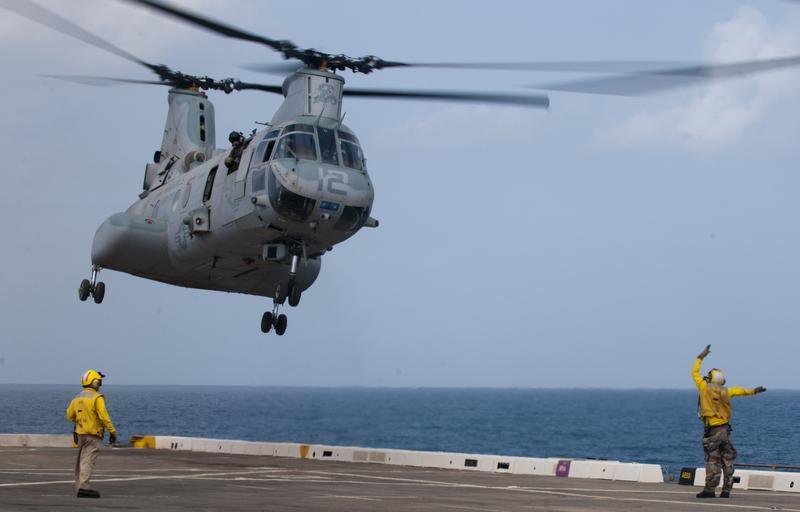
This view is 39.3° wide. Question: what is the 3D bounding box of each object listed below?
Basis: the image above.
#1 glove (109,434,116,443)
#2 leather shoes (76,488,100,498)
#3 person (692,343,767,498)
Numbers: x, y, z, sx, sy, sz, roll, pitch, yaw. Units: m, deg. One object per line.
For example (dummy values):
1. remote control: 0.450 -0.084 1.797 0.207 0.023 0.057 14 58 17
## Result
1. glove: -6.961 4.412 27.048 0.139 0.247 0.409 7 -6 -14
2. leather shoes: -7.358 5.578 26.441 0.595 0.231 0.209 1 1 6
3. person: 8.040 4.160 28.301 1.306 3.795 1.200 3 -7 17
